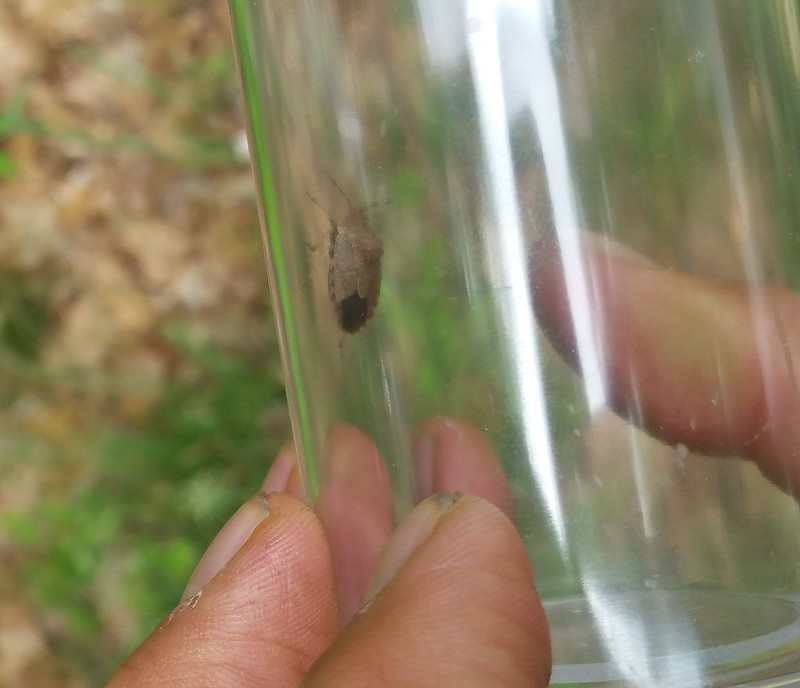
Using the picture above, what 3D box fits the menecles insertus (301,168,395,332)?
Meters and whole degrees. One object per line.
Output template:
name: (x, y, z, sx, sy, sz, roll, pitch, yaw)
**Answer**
menecles insertus: (-0.012, -0.024, 0.249, 0.025, 0.010, 0.039, 0, 95, -36)
